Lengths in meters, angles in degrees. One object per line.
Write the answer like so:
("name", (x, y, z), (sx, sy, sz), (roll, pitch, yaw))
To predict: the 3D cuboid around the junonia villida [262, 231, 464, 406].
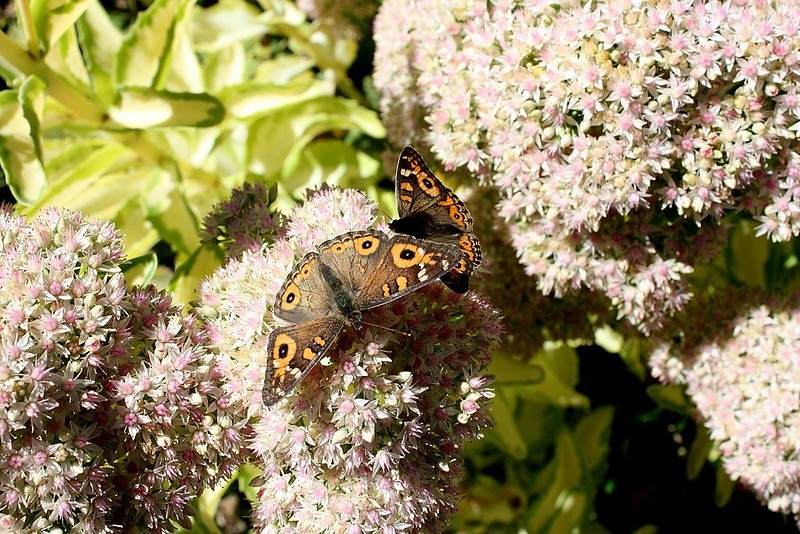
("junonia villida", (-0.150, 0.071, 2.241), (0.617, 0.125, 0.282), (-37, 66, -4))
